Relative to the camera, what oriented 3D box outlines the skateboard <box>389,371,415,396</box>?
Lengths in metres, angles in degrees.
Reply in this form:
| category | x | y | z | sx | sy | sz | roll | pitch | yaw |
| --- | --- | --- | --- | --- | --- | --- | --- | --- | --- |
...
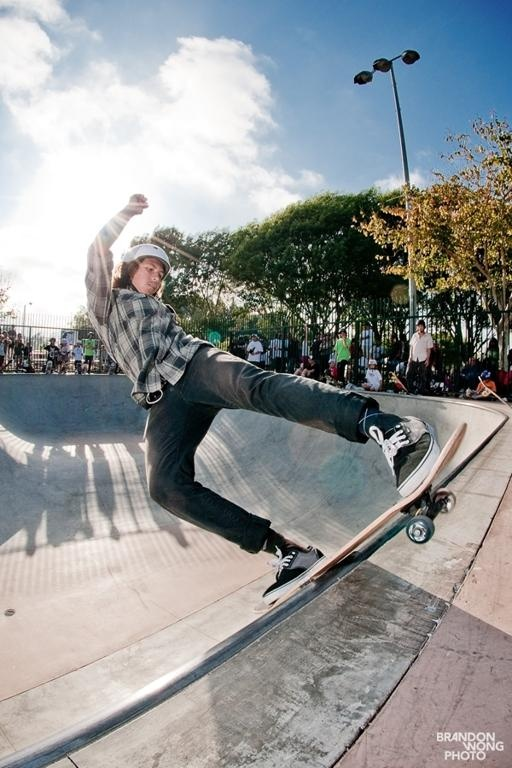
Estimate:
| category | x | y | z | sx | sy | sz | roll | pitch | yaw |
| --- | --- | --- | --- | --- | --- | --- | --- | --- | --- |
| skateboard | 2.917 | -0.037 | 9.926 | 0.162 | 0.164 | 0.509 | -1 | 23 | -36 |

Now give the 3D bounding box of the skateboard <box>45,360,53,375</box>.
| category | x | y | z | sx | sy | sz | roll | pitch | yaw |
| --- | --- | --- | --- | --- | --- | --- | --- | --- | --- |
| skateboard | -7.399 | -0.688 | 18.078 | 0.234 | 0.454 | 0.465 | -9 | 10 | -24 |

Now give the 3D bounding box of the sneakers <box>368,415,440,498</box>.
| category | x | y | z | sx | sy | sz | roll | pitch | yaw |
| --- | --- | --- | --- | --- | --- | --- | --- | --- | --- |
| sneakers | 0.557 | 0.245 | 1.907 | 0.167 | 0.158 | 0.409 | 21 | 19 | 5 |

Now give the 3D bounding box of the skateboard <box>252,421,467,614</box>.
| category | x | y | z | sx | sy | sz | roll | pitch | yaw |
| --- | --- | --- | --- | --- | --- | --- | --- | --- | --- |
| skateboard | 0.633 | 0.318 | 2.054 | 1.399 | 0.234 | 0.365 | -27 | -22 | -41 |
